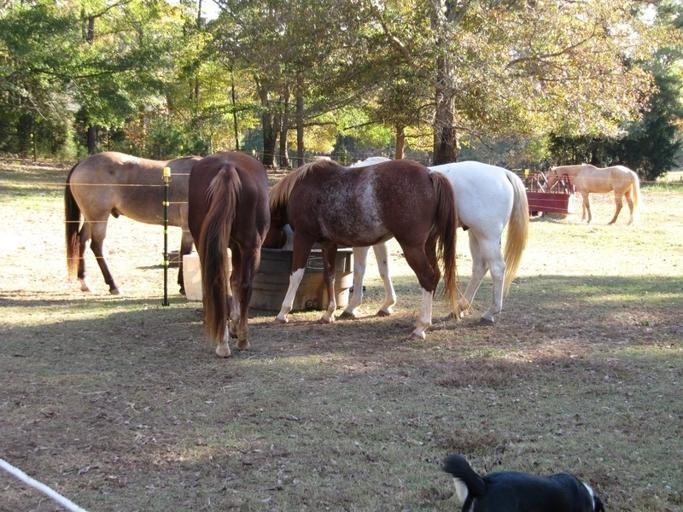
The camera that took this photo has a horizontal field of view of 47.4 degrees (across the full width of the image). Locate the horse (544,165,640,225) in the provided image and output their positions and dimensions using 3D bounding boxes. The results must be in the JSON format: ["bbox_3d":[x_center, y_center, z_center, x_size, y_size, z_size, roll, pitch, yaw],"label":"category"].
[{"bbox_3d":[8.051,-1.984,24.990,2.999,1.944,0.679,2,11,33],"label":"horse"}]

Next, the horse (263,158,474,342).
[{"bbox_3d":[0.360,-0.144,11.830,2.732,2.618,0.676,2,5,15],"label":"horse"}]

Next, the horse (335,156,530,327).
[{"bbox_3d":[1.073,-0.363,12.826,3.788,2.941,1.082,1,3,16],"label":"horse"}]
